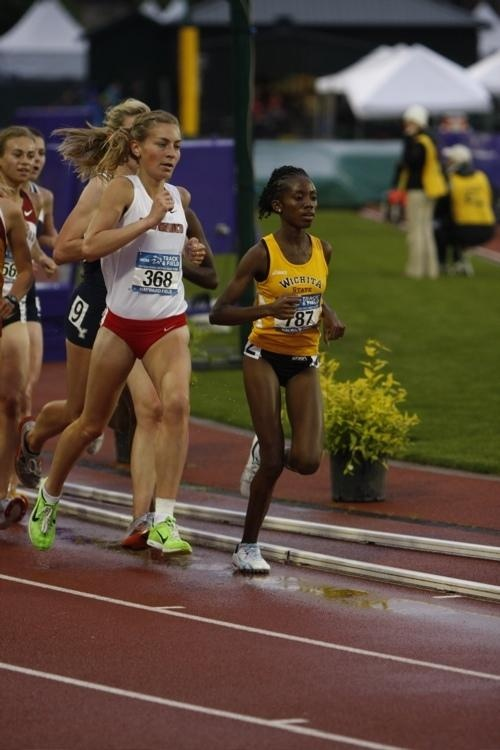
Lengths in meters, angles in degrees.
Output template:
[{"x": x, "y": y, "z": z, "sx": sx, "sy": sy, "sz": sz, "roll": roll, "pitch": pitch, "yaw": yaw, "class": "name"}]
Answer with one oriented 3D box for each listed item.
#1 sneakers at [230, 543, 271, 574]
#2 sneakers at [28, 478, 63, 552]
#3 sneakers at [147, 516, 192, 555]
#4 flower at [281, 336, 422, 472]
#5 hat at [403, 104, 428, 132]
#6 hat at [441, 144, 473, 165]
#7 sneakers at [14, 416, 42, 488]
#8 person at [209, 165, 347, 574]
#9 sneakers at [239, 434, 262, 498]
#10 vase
[{"x": 0.004, "y": 0.909, "z": 3.790, "sx": 0.097, "sy": 0.100, "sz": 0.228, "roll": 2, "pitch": -2, "yaw": -27, "class": "sneakers"}, {"x": -1.016, "y": 0.722, "z": 3.864, "sx": 0.140, "sy": 0.393, "sz": 0.166, "roll": 14, "pitch": -30, "yaw": -33, "class": "sneakers"}, {"x": -0.372, "y": 0.749, "z": 3.506, "sx": 0.169, "sy": 0.190, "sz": 0.201, "roll": 1, "pitch": -1, "yaw": -14, "class": "sneakers"}, {"x": 0.722, "y": 0.240, "z": 4.881, "sx": 0.621, "sy": 0.651, "sz": 0.617, "roll": 23, "pitch": 15, "yaw": 41, "class": "flower"}, {"x": 0.848, "y": -1.304, "z": 3.930, "sx": 0.117, "sy": 0.127, "sz": 0.139, "roll": 0, "pitch": -16, "yaw": 7, "class": "hat"}, {"x": 1.012, "y": -1.075, "z": 3.706, "sx": 0.118, "sy": 0.036, "sz": 0.116, "roll": 23, "pitch": 54, "yaw": 24, "class": "hat"}, {"x": -1.332, "y": 0.464, "z": 4.640, "sx": 0.174, "sy": 0.412, "sz": 0.159, "roll": 8, "pitch": 15, "yaw": 34, "class": "sneakers"}, {"x": 0.093, "y": -0.011, "z": 3.586, "sx": 0.492, "sy": 1.966, "sz": 0.508, "roll": 0, "pitch": -2, "yaw": 16, "class": "person"}, {"x": 0.004, "y": 0.470, "z": 3.994, "sx": 0.120, "sy": 0.333, "sz": 0.136, "roll": 9, "pitch": 21, "yaw": -2, "class": "sneakers"}, {"x": 0.693, "y": 0.620, "z": 5.022, "sx": 0.430, "sy": 0.434, "sz": 0.435, "roll": 0, "pitch": -6, "yaw": 31, "class": "vase"}]
